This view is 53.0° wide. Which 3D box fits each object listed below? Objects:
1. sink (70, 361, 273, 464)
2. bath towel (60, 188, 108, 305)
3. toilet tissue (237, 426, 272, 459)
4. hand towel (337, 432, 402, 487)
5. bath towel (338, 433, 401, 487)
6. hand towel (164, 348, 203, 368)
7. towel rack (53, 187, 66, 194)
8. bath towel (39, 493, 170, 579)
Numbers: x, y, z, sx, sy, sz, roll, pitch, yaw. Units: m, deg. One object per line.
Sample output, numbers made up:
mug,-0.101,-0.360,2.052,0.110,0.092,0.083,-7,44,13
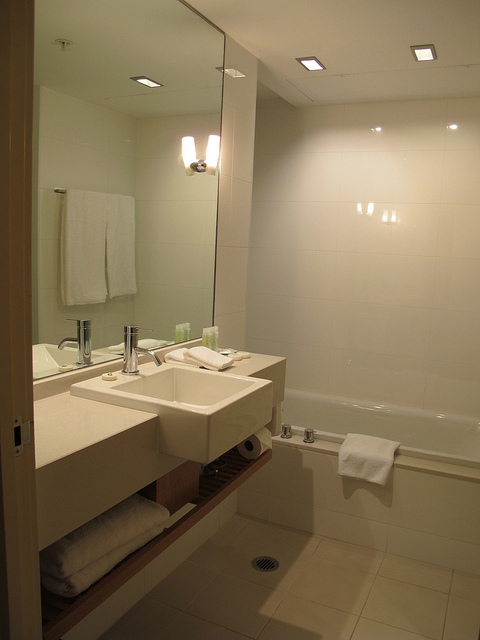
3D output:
sink,-0.213,0.284,1.629,0.514,0.178,0.536,4,5,25
bath towel,-0.531,-0.248,1.646,0.016,0.391,0.252,3,4,18
toilet tissue,0.076,0.530,2.136,0.126,0.149,0.145,-4,4,33
hand towel,0.714,0.758,2.637,0.301,0.187,0.310,4,5,26
bath towel,0.716,0.713,2.638,0.283,0.215,0.290,6,7,29
hand towel,-0.243,0.158,1.928,0.089,0.032,0.088,-8,17,-44
towel rack,-0.565,-0.403,1.510,0.003,0.022,0.051,3,4,19
bath towel,-0.376,0.535,1.272,0.241,0.098,0.323,7,8,33
